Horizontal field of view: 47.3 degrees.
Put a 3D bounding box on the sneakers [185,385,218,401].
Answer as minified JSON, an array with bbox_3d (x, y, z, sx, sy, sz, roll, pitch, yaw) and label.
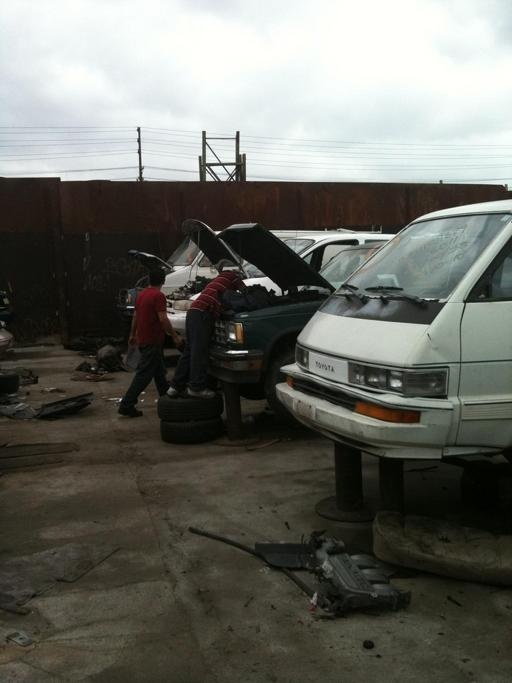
[{"bbox_3d":[-0.547,0.507,5.833,0.295,0.115,0.109,-1,14,-10],"label":"sneakers"}]

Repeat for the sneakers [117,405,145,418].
[{"bbox_3d":[-1.523,0.822,7.035,0.368,0.152,0.119,1,18,-20],"label":"sneakers"}]

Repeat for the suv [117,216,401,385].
[{"bbox_3d":[0.170,-0.404,6.559,2.916,1.607,1.640,-4,8,-30],"label":"suv"}]
